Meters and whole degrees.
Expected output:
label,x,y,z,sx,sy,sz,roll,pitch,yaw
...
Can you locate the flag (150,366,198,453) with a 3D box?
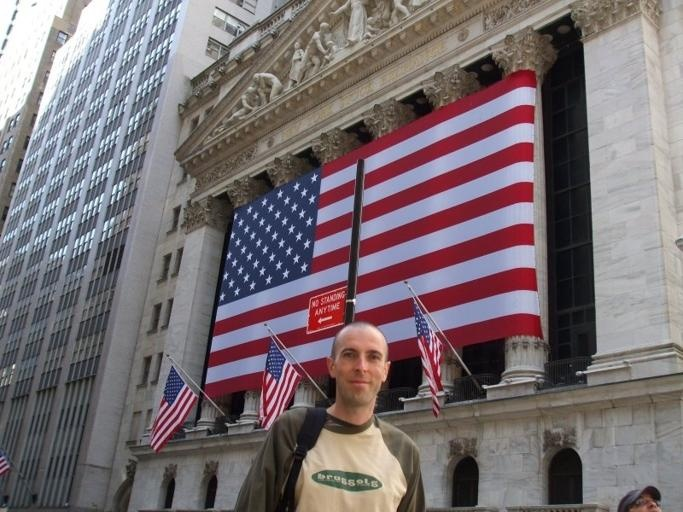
label,x,y,z,sx,sy,sz,roll,pitch,yaw
flag,-7.850,7.289,33.558,1.816,3.892,1.345,3,-5,-3
